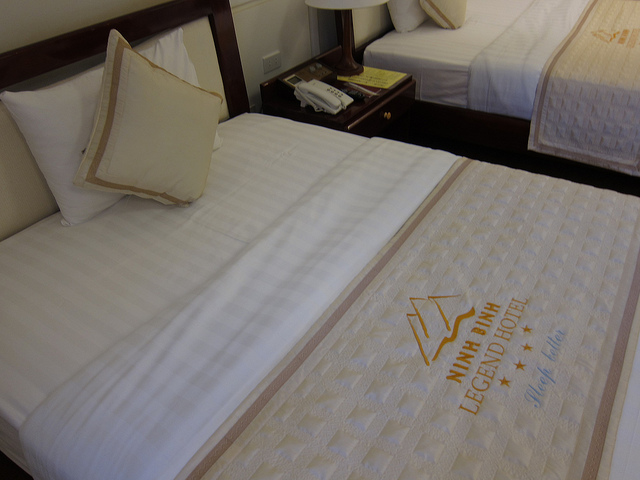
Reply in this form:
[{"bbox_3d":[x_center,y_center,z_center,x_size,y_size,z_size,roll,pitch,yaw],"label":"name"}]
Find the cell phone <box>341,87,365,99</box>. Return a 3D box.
[{"bbox_3d":[0.211,-0.873,2.710,0.114,0.030,0.070,31,46,16],"label":"cell phone"}]
